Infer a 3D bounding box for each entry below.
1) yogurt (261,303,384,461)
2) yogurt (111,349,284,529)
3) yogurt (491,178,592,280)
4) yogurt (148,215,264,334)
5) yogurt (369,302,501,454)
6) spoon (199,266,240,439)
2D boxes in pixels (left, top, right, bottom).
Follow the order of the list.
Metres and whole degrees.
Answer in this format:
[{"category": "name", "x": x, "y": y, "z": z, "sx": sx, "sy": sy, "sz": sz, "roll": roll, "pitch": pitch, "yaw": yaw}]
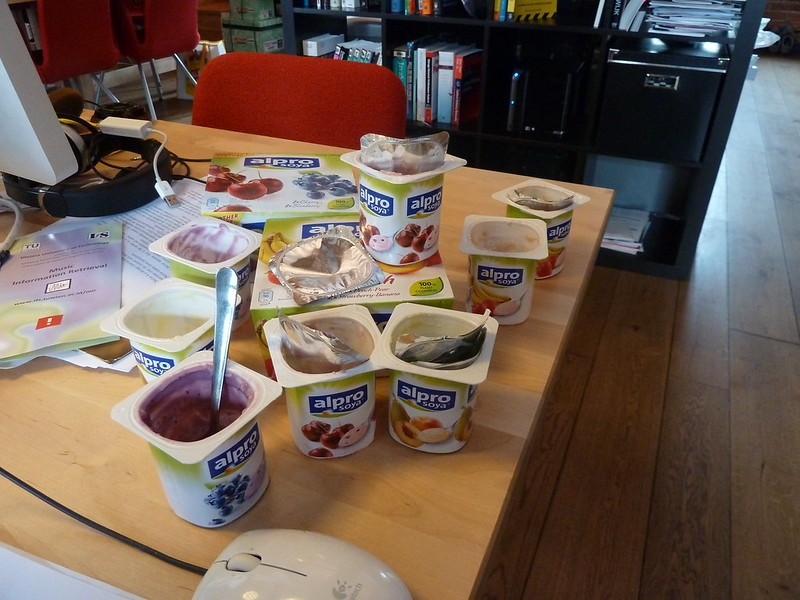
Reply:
[{"category": "yogurt", "x": -0.089, "y": 0.100, "z": 0.713, "sx": 0.133, "sy": 0.158, "sz": 0.124, "roll": -9, "pitch": 35, "yaw": -14}, {"category": "yogurt", "x": -0.222, "y": 0.167, "z": 0.655, "sx": 0.169, "sy": 0.127, "sz": 0.157, "roll": 16, "pitch": 33, "yaw": 23}, {"category": "yogurt", "x": 0.232, "y": -0.121, "z": 0.992, "sx": 0.145, "sy": 0.123, "sz": 0.149, "roll": -17, "pitch": 35, "yaw": -24}, {"category": "yogurt", "x": -0.299, "y": -0.042, "z": 0.923, "sx": 0.168, "sy": 0.131, "sz": 0.154, "roll": 19, "pitch": 40, "yaw": 17}, {"category": "yogurt", "x": 0.042, "y": 0.095, "z": 0.714, "sx": 0.134, "sy": 0.165, "sz": 0.116, "roll": 8, "pitch": 35, "yaw": 10}, {"category": "spoon", "x": -0.208, "y": 0.067, "z": 0.663, "sx": 0.038, "sy": 0.182, "sz": 0.026, "roll": -2, "pitch": -10, "yaw": 9}]
